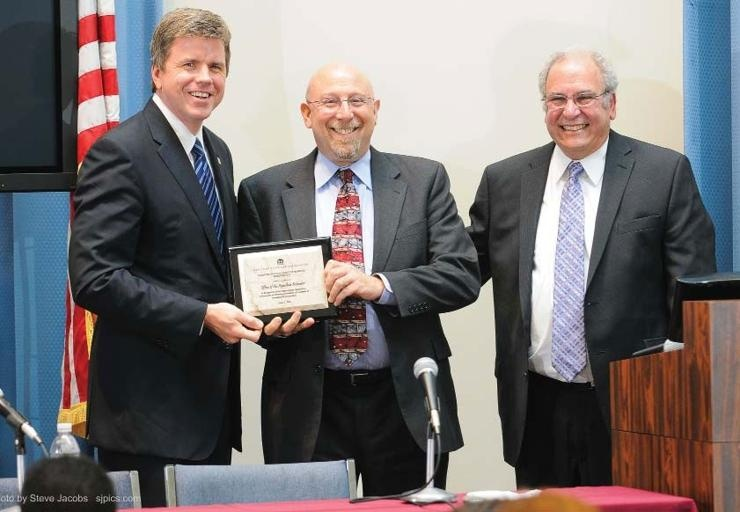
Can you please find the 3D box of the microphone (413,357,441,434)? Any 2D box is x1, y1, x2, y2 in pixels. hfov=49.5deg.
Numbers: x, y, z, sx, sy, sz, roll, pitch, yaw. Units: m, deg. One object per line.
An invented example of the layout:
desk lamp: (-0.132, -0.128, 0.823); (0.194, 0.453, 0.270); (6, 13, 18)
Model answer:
microphone: (0.204, 0.488, 2.826); (0.077, 0.262, 0.283); (-3, 0, 3)

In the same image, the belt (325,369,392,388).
belt: (-0.048, 0.538, 3.527); (0.290, 0.079, 0.037); (-3, 0, -3)

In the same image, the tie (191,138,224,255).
tie: (-0.695, -0.275, 3.511); (0.093, 0.644, 0.066); (-4, -40, -22)

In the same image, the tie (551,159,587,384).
tie: (0.925, 0.060, 3.723); (0.149, 1.014, 0.248); (-3, 0, 21)

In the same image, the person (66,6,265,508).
person: (-0.872, -0.013, 3.385); (0.733, 2.029, 0.443); (-3, 0, -22)
